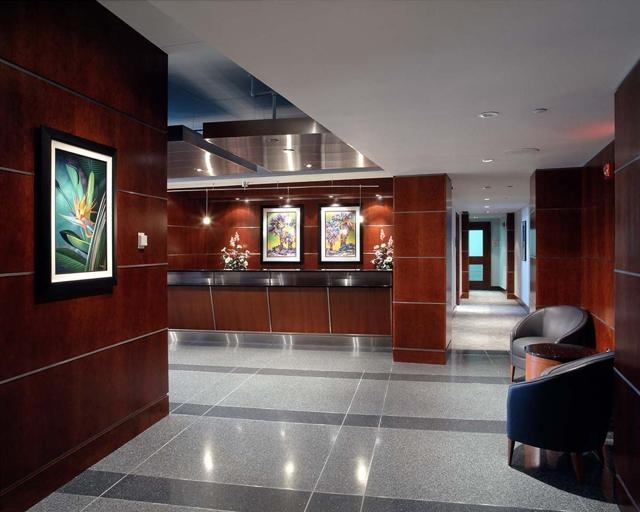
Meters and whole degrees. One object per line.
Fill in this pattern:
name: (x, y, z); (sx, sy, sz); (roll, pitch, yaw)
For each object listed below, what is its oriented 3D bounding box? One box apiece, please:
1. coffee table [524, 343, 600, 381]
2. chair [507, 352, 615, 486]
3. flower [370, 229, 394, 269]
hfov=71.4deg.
coffee table: (2.570, 1.097, 4.966); (0.622, 0.405, 0.650); (-1, -4, 7)
chair: (2.186, 1.330, 4.053); (0.896, 1.024, 0.843); (-2, -4, 33)
flower: (1.337, -0.166, 9.242); (0.514, 0.540, 0.504); (7, -3, -42)
